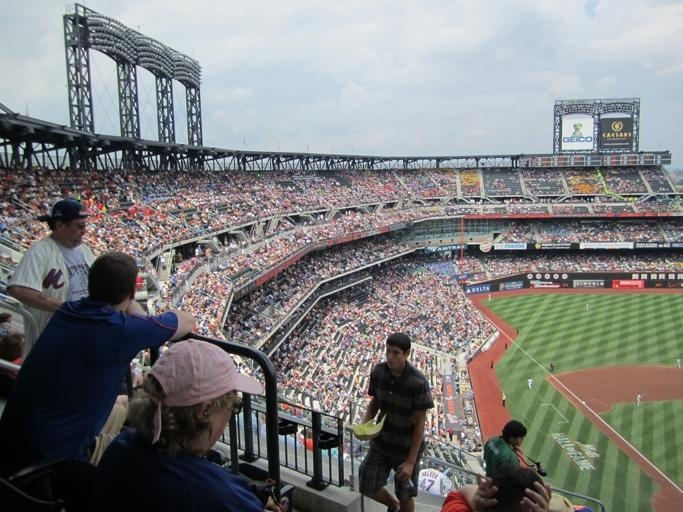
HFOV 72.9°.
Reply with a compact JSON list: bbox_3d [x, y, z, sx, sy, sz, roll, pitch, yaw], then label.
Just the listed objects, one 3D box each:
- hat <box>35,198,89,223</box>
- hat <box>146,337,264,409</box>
[{"bbox_3d":[-2.748,-0.428,4.547,0.369,0.213,0.241,3,1,-18],"label":"hat"},{"bbox_3d":[-0.914,0.755,3.167,0.779,0.381,0.512,5,0,-45],"label":"hat"}]
